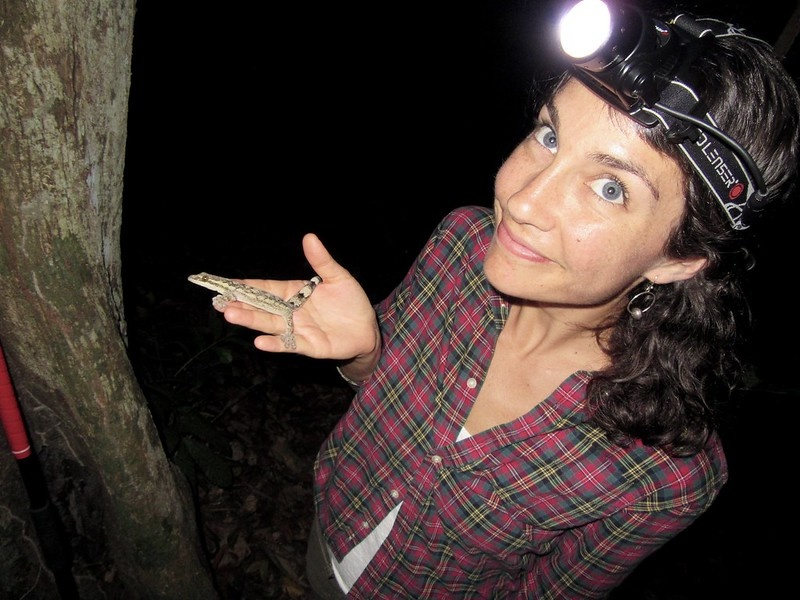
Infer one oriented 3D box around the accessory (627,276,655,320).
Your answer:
[{"bbox_3d":[1.400,-0.004,4.068,0.161,0.195,0.082,31,16,2],"label":"accessory"}]
